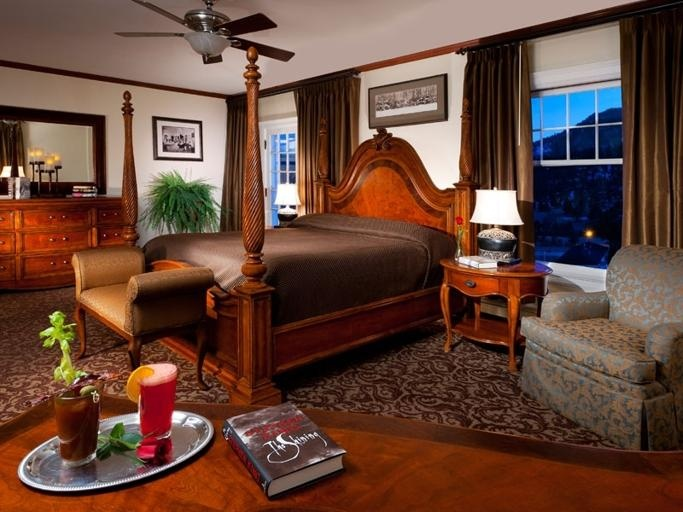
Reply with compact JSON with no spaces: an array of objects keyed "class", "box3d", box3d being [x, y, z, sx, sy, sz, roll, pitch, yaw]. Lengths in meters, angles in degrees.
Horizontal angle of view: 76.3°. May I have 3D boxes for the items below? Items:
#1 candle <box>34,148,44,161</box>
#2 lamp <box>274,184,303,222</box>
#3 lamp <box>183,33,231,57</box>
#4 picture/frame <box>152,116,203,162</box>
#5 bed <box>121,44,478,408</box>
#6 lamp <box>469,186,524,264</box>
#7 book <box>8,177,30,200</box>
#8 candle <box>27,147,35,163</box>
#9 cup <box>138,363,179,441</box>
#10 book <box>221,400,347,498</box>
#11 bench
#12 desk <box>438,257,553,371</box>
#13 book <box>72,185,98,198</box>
[{"class":"candle","box3d":[-4.234,-1.420,6.063,0.135,0.153,0.136,6,10,21]},{"class":"lamp","box3d":[-0.806,-0.768,6.397,0.383,0.631,0.416,-10,21,-37]},{"class":"lamp","box3d":[-1.055,-1.682,3.425,0.195,0.071,0.193,-4,10,-37]},{"class":"picture/frame","box3d":[-2.726,-1.930,7.078,0.789,0.651,0.055,-6,9,-37]},{"class":"bed","box3d":[-0.415,-0.478,4.357,3.159,2.226,2.901,-6,13,-29]},{"class":"lamp","box3d":[1.319,-0.260,3.782,0.460,0.651,0.486,4,8,41]},{"class":"book","box3d":[-4.181,-0.887,5.623,0.241,0.257,0.245,-11,19,-36]},{"class":"candle","box3d":[-4.307,-1.409,6.015,0.099,0.172,0.019,-14,20,-42]},{"class":"cup","box3d":[-0.601,0.470,1.402,0.129,0.199,0.127,3,5,0]},{"class":"book","box3d":[-0.198,0.584,1.354,0.270,0.062,0.338,-1,12,-40]},{"class":"bench","box3d":[-1.598,0.456,3.395,1.336,0.858,0.594,11,11,43]},{"class":"desk","box3d":[1.334,0.480,3.901,0.839,0.826,0.937,-4,8,-31]},{"class":"book","box3d":[-3.672,-0.930,6.207,0.321,0.126,0.461,-9,18,-30]}]
